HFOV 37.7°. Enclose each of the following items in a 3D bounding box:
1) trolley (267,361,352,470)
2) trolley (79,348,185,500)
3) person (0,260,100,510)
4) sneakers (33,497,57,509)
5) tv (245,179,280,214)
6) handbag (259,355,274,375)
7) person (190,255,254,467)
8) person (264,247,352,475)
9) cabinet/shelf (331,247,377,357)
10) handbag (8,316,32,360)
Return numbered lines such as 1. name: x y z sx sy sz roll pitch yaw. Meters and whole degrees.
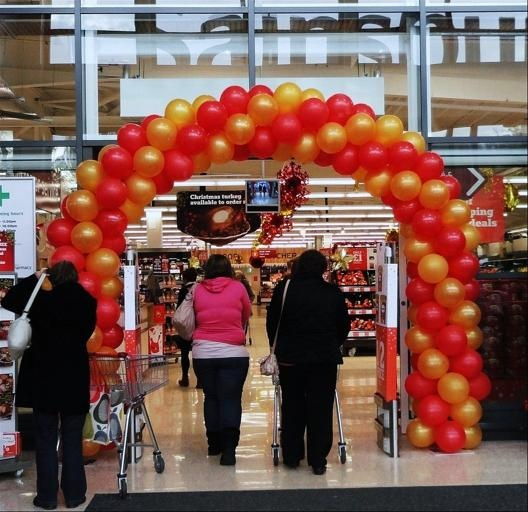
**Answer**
1. trolley: 0.385 1.315 7.023 0.759 1.070 0.933 -3 5 23
2. trolley: -1.163 1.241 6.366 0.519 1.159 0.774 2 3 26
3. person: -1.535 0.959 5.823 0.588 1.815 0.305 -1 2 -15
4. sneakers: -1.614 1.845 5.803 0.179 0.086 0.075 6 -4 26
5. tv: 0.001 -0.601 7.850 0.292 0.299 0.109 0 -5 -4
6. handbag: 0.042 0.903 6.404 0.119 0.164 0.166 -1 3 -1
7. person: -0.355 0.875 6.684 0.471 1.763 0.420 -1 2 1
8. person: 0.377 0.861 6.446 0.688 1.813 0.399 0 2 5
9. cabinet/shelf: 1.636 0.656 12.314 0.848 1.622 0.851 -2 -1 29
10. handbag: -1.778 0.600 5.712 0.166 0.303 0.175 3 2 -8
